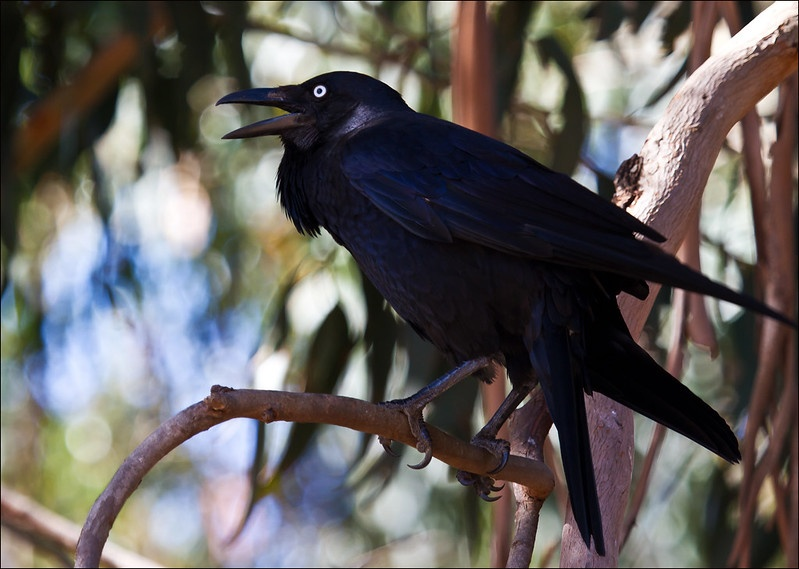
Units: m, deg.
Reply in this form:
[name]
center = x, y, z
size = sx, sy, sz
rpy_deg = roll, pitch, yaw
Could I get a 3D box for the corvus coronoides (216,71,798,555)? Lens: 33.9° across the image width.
[corvus coronoides]
center = 0.432, 0.036, 6.603
size = 2.350, 2.240, 1.076
rpy_deg = 4, -47, -4
